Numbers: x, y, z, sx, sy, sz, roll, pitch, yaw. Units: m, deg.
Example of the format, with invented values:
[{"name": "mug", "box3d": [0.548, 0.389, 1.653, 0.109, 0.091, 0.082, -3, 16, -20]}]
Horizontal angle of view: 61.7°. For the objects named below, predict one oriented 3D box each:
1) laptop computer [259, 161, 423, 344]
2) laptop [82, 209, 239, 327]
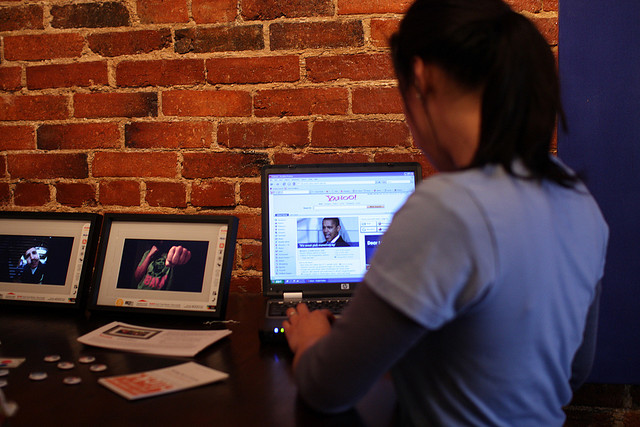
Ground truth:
[{"name": "laptop computer", "box3d": [0.058, 0.097, 1.510, 0.522, 0.426, 0.394, -1, 8, -4]}, {"name": "laptop", "box3d": [-0.481, 0.150, 1.600, 0.436, 0.301, 0.048, 0, -18, 16]}]
